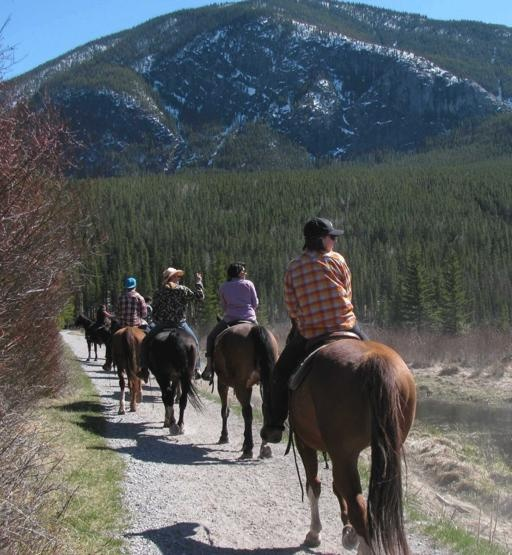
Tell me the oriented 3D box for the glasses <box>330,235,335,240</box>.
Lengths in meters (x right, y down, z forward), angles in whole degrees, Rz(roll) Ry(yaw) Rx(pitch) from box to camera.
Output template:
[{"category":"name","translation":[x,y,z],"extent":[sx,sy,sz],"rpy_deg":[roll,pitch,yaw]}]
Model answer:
[{"category":"glasses","translation":[0.971,-0.505,10.606],"extent":[0.064,0.075,0.133],"rpy_deg":[8,5,6]}]

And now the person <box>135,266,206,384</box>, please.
[{"category":"person","translation":[-1.618,1.044,16.598],"extent":[0.824,2.468,1.259],"rpy_deg":[0,-12,6]}]

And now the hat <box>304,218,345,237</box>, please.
[{"category":"hat","translation":[0.841,-0.622,10.586],"extent":[0.341,0.228,0.275],"rpy_deg":[2,13,-19]}]
